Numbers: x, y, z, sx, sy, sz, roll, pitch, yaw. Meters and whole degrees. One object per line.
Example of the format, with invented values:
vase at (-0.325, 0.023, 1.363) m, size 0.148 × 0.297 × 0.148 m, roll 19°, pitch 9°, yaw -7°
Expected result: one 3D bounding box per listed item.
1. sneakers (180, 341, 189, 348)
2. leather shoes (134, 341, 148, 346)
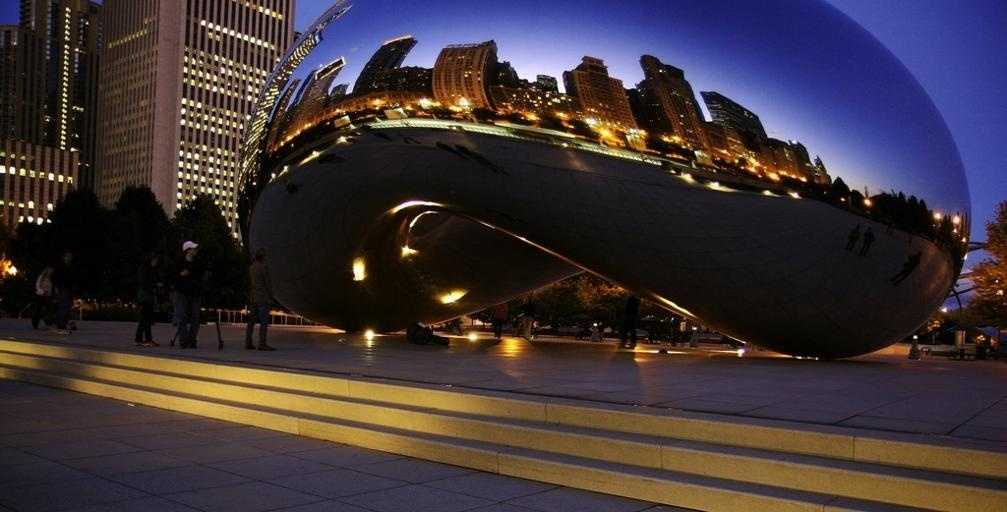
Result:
sneakers at (-7.698, 2.135, 13.666) m, size 0.192 × 0.115 × 0.179 m, roll 1°, pitch -9°, yaw 5°
leather shoes at (-8.886, 2.147, 13.882) m, size 0.344 × 0.119 × 0.141 m, roll 4°, pitch -5°, yaw -8°
